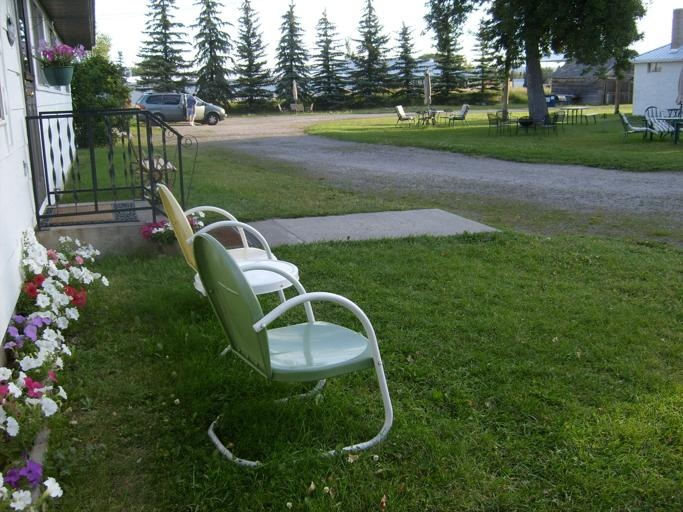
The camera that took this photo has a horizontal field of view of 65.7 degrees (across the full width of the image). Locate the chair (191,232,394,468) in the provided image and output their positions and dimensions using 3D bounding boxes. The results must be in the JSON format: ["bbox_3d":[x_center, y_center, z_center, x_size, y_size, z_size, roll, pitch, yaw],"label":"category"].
[{"bbox_3d":[-0.294,0.493,3.382,1.143,1.346,1.145,-2,9,-12],"label":"chair"}]

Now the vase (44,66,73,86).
[{"bbox_3d":[-4.796,-3.054,8.977,0.422,0.326,0.664,-8,14,-28],"label":"vase"}]
